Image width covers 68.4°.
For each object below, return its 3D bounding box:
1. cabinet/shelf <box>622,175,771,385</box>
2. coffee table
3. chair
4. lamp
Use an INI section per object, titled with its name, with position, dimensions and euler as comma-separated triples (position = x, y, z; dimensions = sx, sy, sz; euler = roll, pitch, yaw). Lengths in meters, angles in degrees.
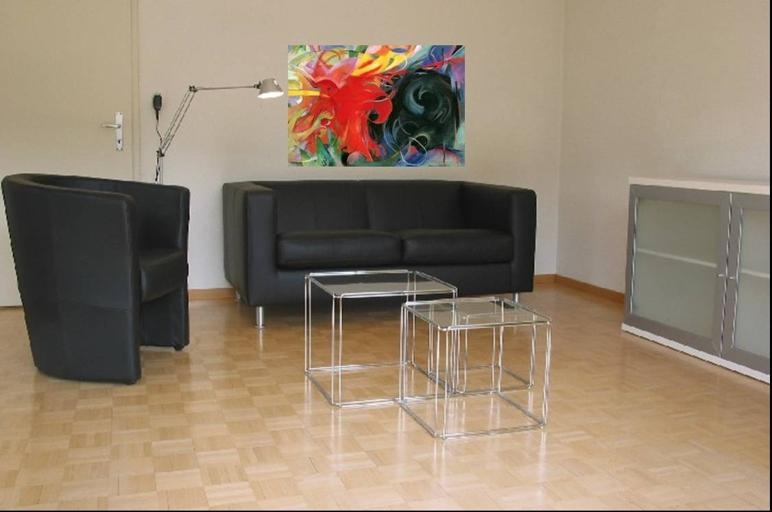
[cabinet/shelf]
position = 2.079, 0.165, 3.745
dimensions = 0.525, 1.198, 1.325
euler = 2, 4, -19
[coffee table]
position = 0.326, 0.616, 3.473
dimensions = 0.966, 0.620, 1.302
euler = -2, 6, -19
[chair]
position = -1.788, 0.163, 3.958
dimensions = 1.298, 1.419, 1.433
euler = 3, 9, -1
[lamp]
position = -1.451, -1.109, 4.908
dimensions = 1.151, 0.933, 0.711
euler = -1, 12, -10
